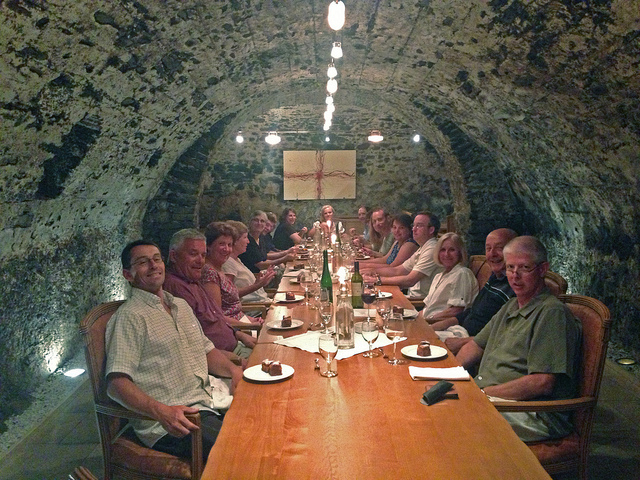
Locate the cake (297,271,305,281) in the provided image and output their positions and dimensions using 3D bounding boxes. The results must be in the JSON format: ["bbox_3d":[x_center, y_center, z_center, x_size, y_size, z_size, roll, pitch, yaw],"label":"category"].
[{"bbox_3d":[-0.197,0.372,4.297,0.076,0.134,0.074,2,8,10],"label":"cake"}]

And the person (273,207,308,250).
[{"bbox_3d":[-0.614,-0.005,8.723,0.731,1.223,0.575,-1,6,-5],"label":"person"}]

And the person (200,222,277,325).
[{"bbox_3d":[-0.689,0.296,3.675,0.755,0.852,0.710,-5,0,-38],"label":"person"}]

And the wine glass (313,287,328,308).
[{"bbox_3d":[0.001,0.439,3.244,0.130,0.200,0.130,-1,3,-13],"label":"wine glass"}]

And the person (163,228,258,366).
[{"bbox_3d":[-0.838,0.421,3.258,1.014,1.044,0.690,0,1,-6],"label":"person"}]

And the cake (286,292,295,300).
[{"bbox_3d":[-0.248,0.466,3.510,0.060,0.035,0.059,1,1,3],"label":"cake"}]

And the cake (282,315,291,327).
[{"bbox_3d":[-0.229,0.538,2.804,0.061,0.062,0.049,3,-8,-12],"label":"cake"}]

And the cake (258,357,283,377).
[{"bbox_3d":[-0.250,0.613,2.034,0.084,0.028,0.082,1,4,11],"label":"cake"}]

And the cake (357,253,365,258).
[{"bbox_3d":[0.642,0.254,6.713,0.113,0.056,0.077,5,-21,-4],"label":"cake"}]

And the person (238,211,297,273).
[{"bbox_3d":[-0.868,0.019,6.251,0.963,0.996,0.758,-1,5,5],"label":"person"}]

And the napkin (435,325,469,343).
[{"bbox_3d":[0.999,0.718,3.193,0.207,0.080,0.124,-4,32,17],"label":"napkin"}]

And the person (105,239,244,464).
[{"bbox_3d":[-0.773,0.540,2.186,0.642,1.019,0.831,-3,10,-11],"label":"person"}]

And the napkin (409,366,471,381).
[{"bbox_3d":[0.563,0.636,2.019,0.278,0.019,0.149,-1,8,-2],"label":"napkin"}]

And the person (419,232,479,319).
[{"bbox_3d":[1.078,0.332,3.648,0.560,0.739,0.551,5,-3,-25],"label":"person"}]

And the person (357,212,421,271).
[{"bbox_3d":[0.893,0.058,5.427,0.782,0.740,0.464,1,18,-33],"label":"person"}]

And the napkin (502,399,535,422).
[{"bbox_3d":[1.001,0.860,2.128,0.157,0.043,0.165,1,-2,-14],"label":"napkin"}]

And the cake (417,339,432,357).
[{"bbox_3d":[0.545,0.570,2.244,0.096,0.100,0.060,2,0,-6],"label":"cake"}]

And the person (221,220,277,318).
[{"bbox_3d":[-0.758,0.440,4.440,0.520,0.901,0.513,-10,-4,-15],"label":"person"}]
